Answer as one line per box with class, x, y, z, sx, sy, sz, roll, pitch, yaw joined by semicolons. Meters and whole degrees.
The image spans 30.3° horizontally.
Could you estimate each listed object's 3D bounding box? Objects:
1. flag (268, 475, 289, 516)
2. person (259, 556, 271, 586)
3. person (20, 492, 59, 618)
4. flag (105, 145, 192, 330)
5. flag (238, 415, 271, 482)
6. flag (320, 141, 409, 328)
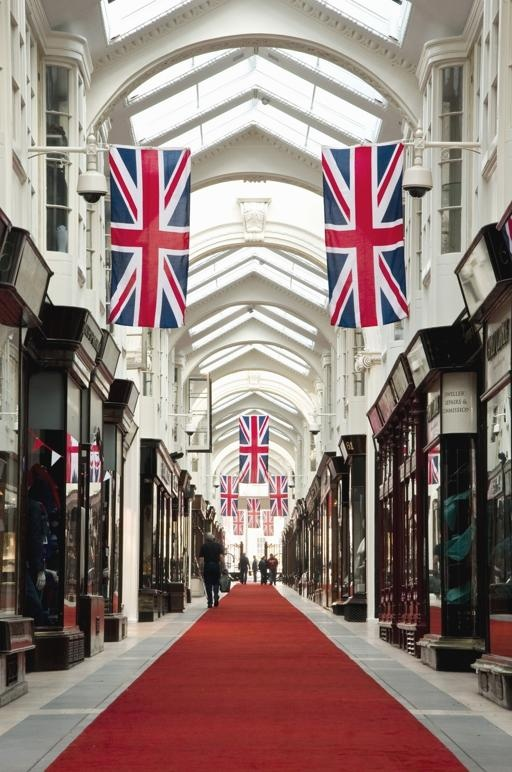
flag;1.184;5.478;49.004;0.818;2.173;2.552;0;-17;1
person;0.462;9.551;49.604;0.486;1.461;1.773;-1;-17;6
person;-1.810;1.395;7.996;0.293;1.136;0.409;4;-13;-18
flag;-0.912;-1.324;8.232;0.689;2.309;0.032;4;-38;-11
flag;-0.072;2.010;31.269;0.992;3.245;0.078;2;-48;-2
flag;0.936;-1.280;8.189;0.668;0.073;2.045;3;-39;11
